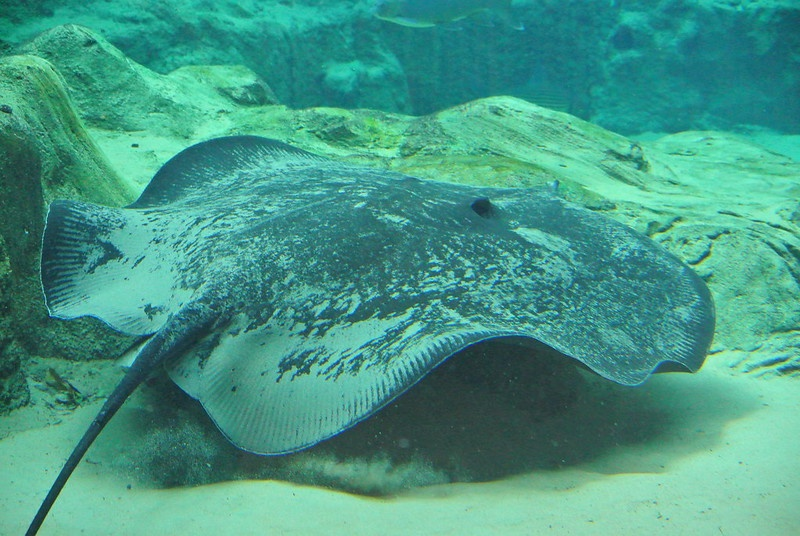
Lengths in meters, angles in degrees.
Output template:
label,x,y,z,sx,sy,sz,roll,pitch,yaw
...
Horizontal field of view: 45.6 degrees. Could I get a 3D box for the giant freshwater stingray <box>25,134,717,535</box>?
label,x,y,z,sx,sy,sz,roll,pitch,yaw
giant freshwater stingray,-0.487,0.205,9.827,6.293,1.691,3.123,-3,52,8
